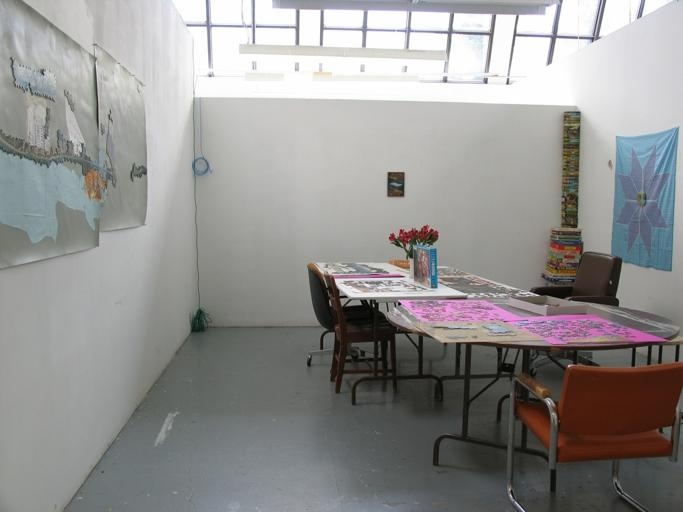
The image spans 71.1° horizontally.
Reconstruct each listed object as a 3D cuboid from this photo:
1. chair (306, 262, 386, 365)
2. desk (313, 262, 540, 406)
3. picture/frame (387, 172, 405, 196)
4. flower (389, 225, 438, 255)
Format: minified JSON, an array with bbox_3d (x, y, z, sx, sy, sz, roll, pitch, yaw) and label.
[{"bbox_3d":[-0.094,0.539,5.024,0.911,1.262,0.923,-1,3,-6],"label":"chair"},{"bbox_3d":[1.030,0.871,5.056,2.681,1.184,1.699,9,1,-15],"label":"desk"},{"bbox_3d":[0.705,-0.975,6.347,0.322,0.439,0.017,0,3,-11],"label":"picture/frame"},{"bbox_3d":[0.749,-0.156,4.904,0.365,0.342,0.519,-4,10,-28],"label":"flower"}]
